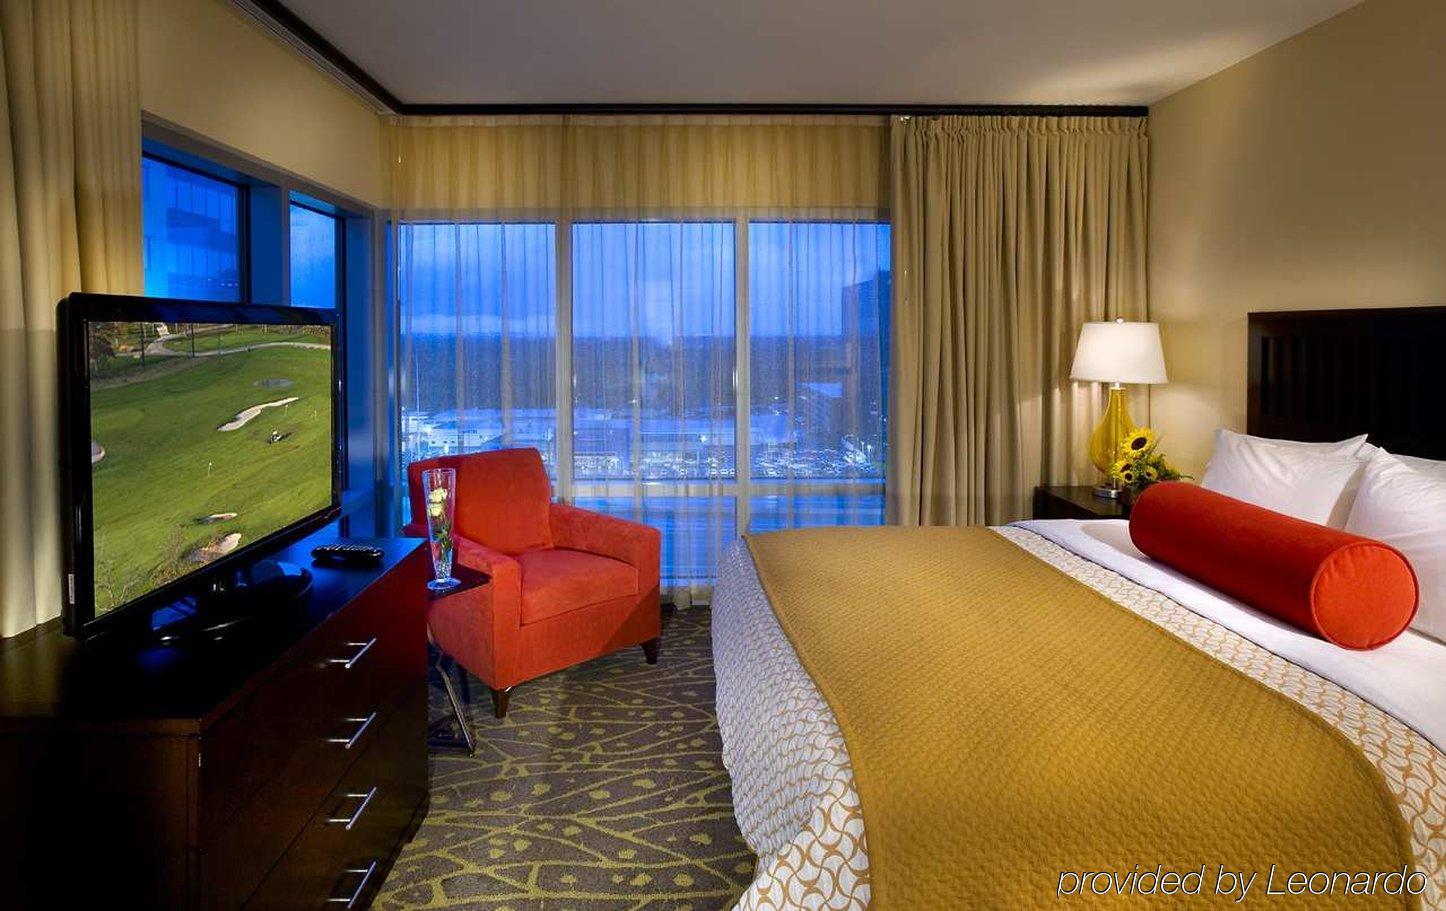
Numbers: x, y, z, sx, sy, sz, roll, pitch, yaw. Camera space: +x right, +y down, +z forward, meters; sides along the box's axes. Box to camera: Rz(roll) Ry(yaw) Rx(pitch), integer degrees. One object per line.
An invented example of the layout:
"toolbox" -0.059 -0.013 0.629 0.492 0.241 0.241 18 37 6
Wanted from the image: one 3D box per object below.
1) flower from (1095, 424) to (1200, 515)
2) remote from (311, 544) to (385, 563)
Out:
"flower" 2.419 0.071 5.408 0.540 0.630 0.602 1 0 -3
"remote" -1.496 0.397 3.658 0.213 0.057 0.111 0 2 2
